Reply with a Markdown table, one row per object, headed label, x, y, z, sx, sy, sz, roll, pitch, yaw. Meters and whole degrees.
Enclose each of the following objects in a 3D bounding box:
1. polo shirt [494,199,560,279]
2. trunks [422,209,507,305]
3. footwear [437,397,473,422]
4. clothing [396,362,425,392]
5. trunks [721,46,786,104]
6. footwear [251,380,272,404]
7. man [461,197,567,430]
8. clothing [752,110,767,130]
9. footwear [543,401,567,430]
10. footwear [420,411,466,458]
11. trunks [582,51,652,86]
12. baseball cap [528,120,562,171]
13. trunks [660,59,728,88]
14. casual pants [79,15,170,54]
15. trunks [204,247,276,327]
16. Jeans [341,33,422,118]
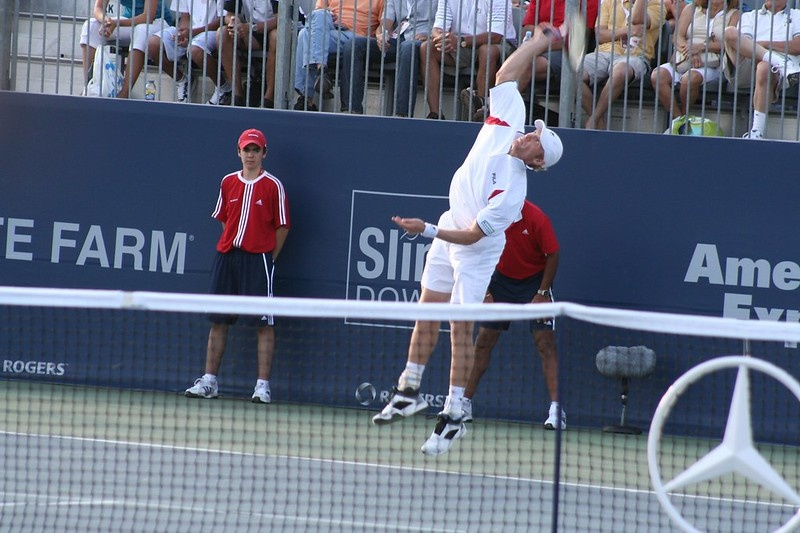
| label | x | y | z | sx | sy | sz | roll | pitch | yaw |
| --- | --- | --- | --- | --- | --- | --- | --- | --- | --- |
| polo shirt | 1.180 | -0.244 | 14.101 | 0.275 | 0.507 | 0.477 | -28 | 32 | -34 |
| trunks | 0.605 | -0.089 | 13.609 | 0.486 | 0.796 | 0.258 | 30 | 23 | 36 |
| footwear | 0.548 | 1.283 | 13.573 | 0.258 | 0.233 | 0.098 | 5 | -4 | -7 |
| clothing | 0.117 | 0.970 | 13.536 | 0.206 | 0.366 | 0.227 | 10 | 4 | 7 |
| trunks | 3.582 | -1.941 | 14.874 | 0.533 | 0.646 | 1.074 | -1 | 25 | 20 |
| footwear | -1.351 | 1.213 | 14.542 | 0.099 | 0.158 | 0.289 | 2 | 6 | -2 |
| man | 1.126 | 0.247 | 14.380 | 0.876 | 2.889 | 0.859 | 4 | -33 | 4 |
| clothing | 3.559 | -1.452 | 14.687 | 0.111 | 0.190 | 0.106 | 10 | 6 | -16 |
| footwear | 1.465 | 1.381 | 14.012 | 0.151 | 0.360 | 0.494 | -2 | -11 | 20 |
| footwear | 0.411 | 1.466 | 13.375 | 0.193 | 0.287 | 0.571 | 4 | 35 | 46 |
| trunks | 2.088 | -2.035 | 15.013 | 0.412 | 0.164 | 0.491 | 4 | 37 | 13 |
| baseball cap | 1.353 | -1.083 | 13.664 | 0.183 | 0.449 | 0.290 | 2 | 29 | 2 |
| trunks | 3.071 | -1.951 | 14.969 | 0.371 | 0.151 | 0.428 | 2 | 0 | -2 |
| casual pants | -2.850 | -2.413 | 15.476 | 0.654 | 0.476 | 0.268 | 6 | 5 | 17 |
| trunks | -1.493 | 0.180 | 14.030 | 0.545 | 0.872 | 0.282 | 3 | -5 | 1 |
| Jeans | -0.176 | -2.007 | 15.187 | 0.722 | 1.027 | 0.744 | 1 | -9 | 2 |
